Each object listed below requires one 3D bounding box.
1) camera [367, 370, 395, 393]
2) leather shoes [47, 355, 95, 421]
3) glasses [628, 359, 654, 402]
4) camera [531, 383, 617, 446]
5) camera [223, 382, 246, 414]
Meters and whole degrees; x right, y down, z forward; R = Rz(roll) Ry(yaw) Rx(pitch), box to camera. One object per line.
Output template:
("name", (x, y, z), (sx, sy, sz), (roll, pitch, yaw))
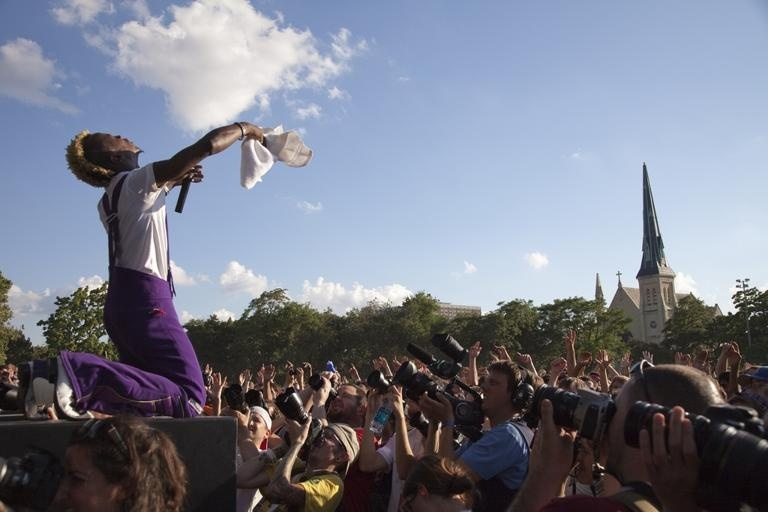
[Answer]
("camera", (-0.041, 1.056, 4.675), (0.145, 0.142, 0.260), (-21, -38, 37))
("leather shoes", (-2.030, 0.864, 3.547), (0.175, 0.329, 0.246), (-19, -23, -13))
("glasses", (1.217, 0.584, 2.608), (0.121, 0.161, 0.089), (29, -23, -23))
("camera", (0.946, 0.750, 2.743), (0.298, 0.168, 0.276), (13, 1, 37))
("camera", (-1.400, 1.376, 5.230), (0.138, 0.124, 0.445), (-11, -31, -1))
